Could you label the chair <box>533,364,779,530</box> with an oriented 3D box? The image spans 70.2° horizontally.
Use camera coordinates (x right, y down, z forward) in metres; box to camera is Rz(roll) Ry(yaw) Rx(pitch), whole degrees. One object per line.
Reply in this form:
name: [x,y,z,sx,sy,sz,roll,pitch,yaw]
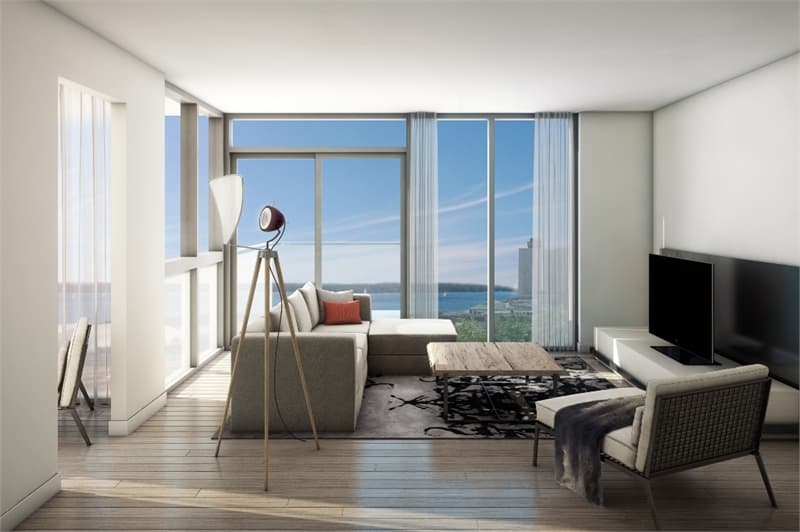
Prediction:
chair: [1.979,1.183,4.583,1.326,1.061,1.355,-3,4,-21]
